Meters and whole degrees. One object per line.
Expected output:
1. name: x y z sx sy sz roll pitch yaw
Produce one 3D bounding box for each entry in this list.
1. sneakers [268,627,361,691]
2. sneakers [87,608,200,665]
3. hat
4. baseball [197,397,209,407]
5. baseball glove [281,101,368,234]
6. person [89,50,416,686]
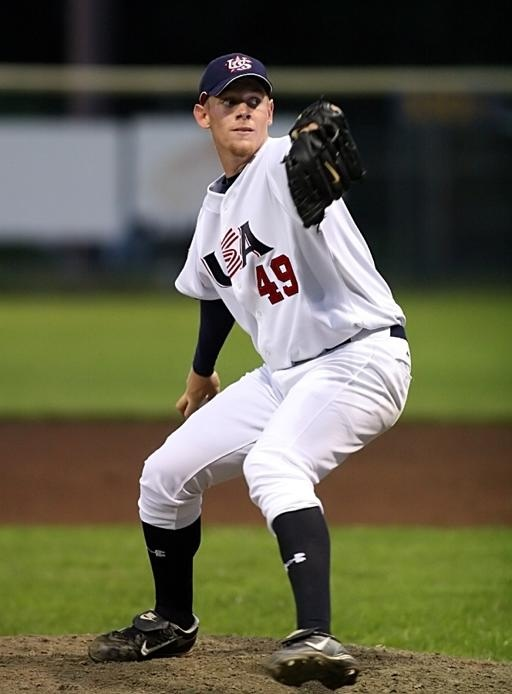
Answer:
1. sneakers: 0.146 0.781 2.622 0.248 0.118 0.123 16 41 -15
2. sneakers: -0.381 0.968 3.430 0.370 0.130 0.144 1 -2 -11
3. hat: -0.063 -0.852 3.178 0.209 0.127 0.268 -9 3 3
4. baseball: -0.193 0.191 3.643 0.039 0.015 0.013 -44 53 -13
5. baseball glove: 0.184 -0.512 2.793 0.218 0.361 0.256 1 7 5
6. person: 0.004 0.096 3.075 0.725 2.009 1.242 -4 8 -31
